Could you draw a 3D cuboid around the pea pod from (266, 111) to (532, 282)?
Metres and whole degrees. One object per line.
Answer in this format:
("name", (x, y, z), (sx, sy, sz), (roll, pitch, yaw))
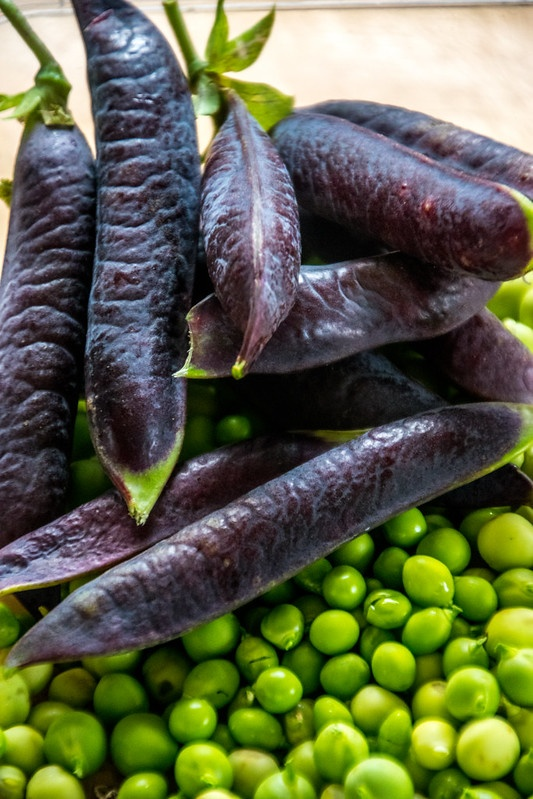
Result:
("pea pod", (0.085, -0.151, 0.560), (0.061, 0.089, 0.288), (-17, 35, -33))

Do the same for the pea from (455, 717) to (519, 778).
("pea", (0.123, 0.195, 0.420), (0.027, 0.025, 0.029), (9, 34, -10))

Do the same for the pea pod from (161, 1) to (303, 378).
("pea pod", (-0.053, -0.157, 0.549), (0.102, 0.100, 0.330), (-7, 56, -2))
